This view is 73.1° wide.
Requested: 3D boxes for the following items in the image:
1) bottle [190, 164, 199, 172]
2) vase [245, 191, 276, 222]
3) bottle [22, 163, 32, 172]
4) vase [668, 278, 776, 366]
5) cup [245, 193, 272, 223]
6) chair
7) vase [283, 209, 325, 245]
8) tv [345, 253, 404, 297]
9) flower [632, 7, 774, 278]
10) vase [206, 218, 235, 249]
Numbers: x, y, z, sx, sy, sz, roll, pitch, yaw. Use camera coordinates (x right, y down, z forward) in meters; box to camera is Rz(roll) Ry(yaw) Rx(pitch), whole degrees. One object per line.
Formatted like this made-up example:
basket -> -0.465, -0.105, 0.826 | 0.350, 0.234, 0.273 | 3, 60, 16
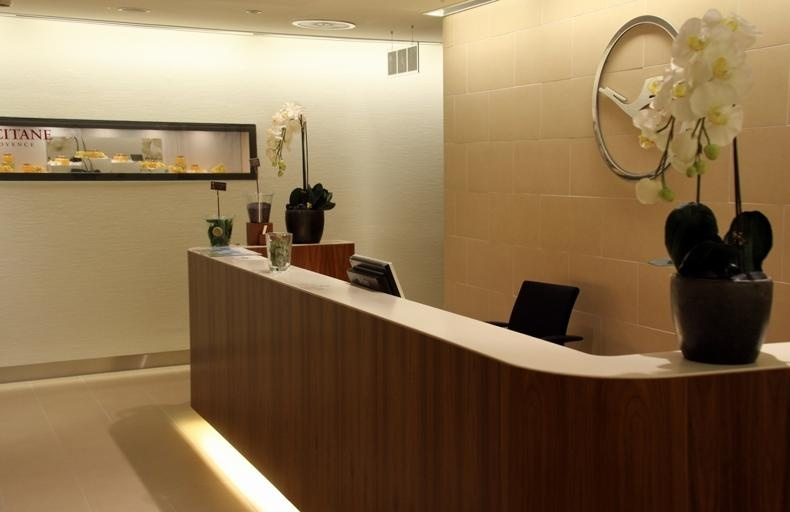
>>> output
bottle -> -2.400, -1.063, 6.436 | 0.095, 0.083, 0.094 | 0, -3, 19
vase -> -1.353, -0.499, 5.446 | 0.312, 0.286, 0.295 | 0, 1, -11
bottle -> -4.047, -0.977, 5.882 | 0.081, 0.096, 0.093 | -6, 10, -34
vase -> 1.235, 0.240, 2.005 | 0.377, 0.296, 0.372 | 4, -3, -39
cup -> -1.369, -0.486, 5.489 | 0.296, 0.275, 0.289 | 1, -1, 0
chair -> 1.242, 0.362, 4.637 | 0.591, 0.856, 0.696 | 4, 0, -37
vase -> -0.910, -0.292, 5.386 | 0.388, 0.288, 0.346 | 0, 0, -2
tv -> -0.118, 0.112, 3.081 | 0.329, 0.228, 0.076 | 13, 29, 38
flower -> 1.004, -0.353, 1.820 | 0.535, 0.869, 0.400 | -8, 11, -41
vase -> -1.601, -0.222, 4.932 | 0.278, 0.280, 0.279 | 3, 9, 34
